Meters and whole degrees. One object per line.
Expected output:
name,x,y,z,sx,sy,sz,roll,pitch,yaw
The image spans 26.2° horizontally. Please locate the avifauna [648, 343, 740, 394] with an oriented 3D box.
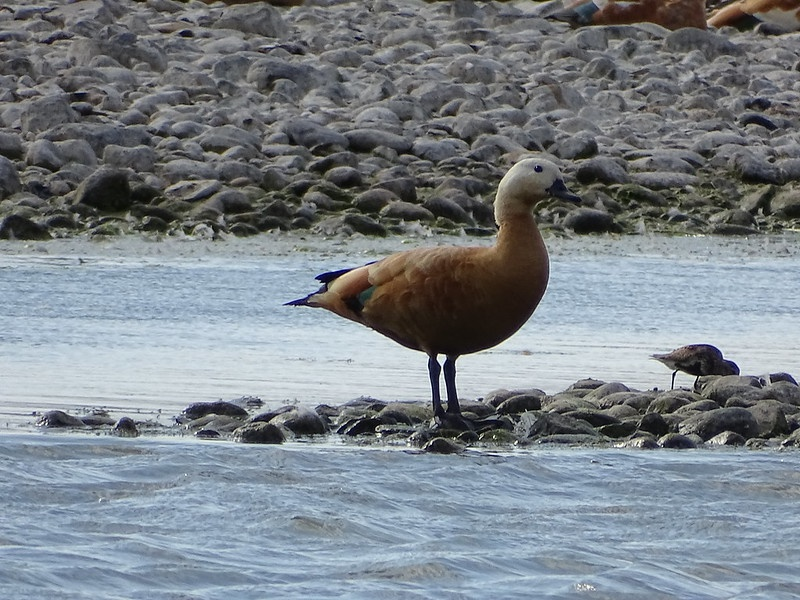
avifauna,2.508,0.577,14.718,0.741,0.363,0.631,1,4,10
